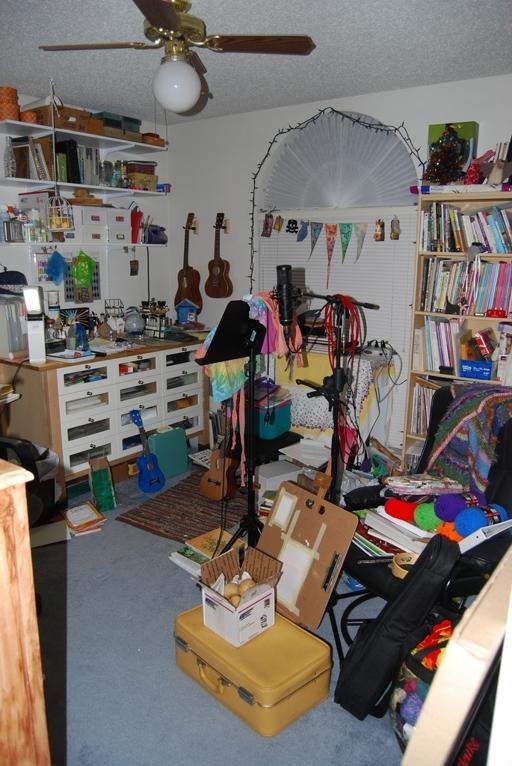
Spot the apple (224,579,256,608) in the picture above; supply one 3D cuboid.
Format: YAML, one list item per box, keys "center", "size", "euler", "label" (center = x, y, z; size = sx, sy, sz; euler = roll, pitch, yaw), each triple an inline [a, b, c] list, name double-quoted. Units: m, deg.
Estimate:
- center: [-0.047, 0.808, 2.135]
  size: [0.109, 0.041, 0.109]
  euler: [-11, -7, 40]
  label: "apple"

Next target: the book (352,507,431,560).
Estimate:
- center: [0.584, 0.640, 2.313]
  size: [0.192, 0.046, 0.190]
  euler: [8, 8, -43]
  label: "book"

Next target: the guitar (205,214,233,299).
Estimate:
- center: [-0.323, -1.052, 4.549]
  size: [0.282, 0.692, 0.133]
  euler: [10, 17, 40]
  label: "guitar"

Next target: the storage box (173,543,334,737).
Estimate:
- center: [0.035, 0.810, 2.135]
  size: [0.502, 0.555, 0.627]
  euler: [-7, 15, -39]
  label: "storage box"

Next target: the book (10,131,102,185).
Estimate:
- center: [-1.331, -1.490, 3.662]
  size: [0.319, 0.334, 0.770]
  euler: [4, 14, 19]
  label: "book"

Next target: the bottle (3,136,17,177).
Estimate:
- center: [-1.568, -1.430, 3.463]
  size: [0.081, 0.259, 0.217]
  euler: [-7, 14, -23]
  label: "bottle"

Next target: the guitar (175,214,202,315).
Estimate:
- center: [-0.582, -1.010, 4.673]
  size: [0.239, 0.860, 0.466]
  euler: [-2, 13, -7]
  label: "guitar"

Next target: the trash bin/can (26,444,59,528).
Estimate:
- center: [-1.260, 0.639, 3.256]
  size: [0.176, 0.483, 0.438]
  euler: [-5, 14, -18]
  label: "trash bin/can"

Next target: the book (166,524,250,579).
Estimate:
- center: [-0.308, 0.923, 3.015]
  size: [0.286, 0.068, 0.283]
  euler: [-23, 29, -39]
  label: "book"

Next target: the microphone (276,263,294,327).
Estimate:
- center: [0.141, -0.413, 2.640]
  size: [0.084, 0.305, 0.152]
  euler: [0, 13, 2]
  label: "microphone"

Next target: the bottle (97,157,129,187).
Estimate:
- center: [-1.071, -1.570, 4.091]
  size: [0.134, 0.235, 0.253]
  euler: [15, 25, 22]
  label: "bottle"

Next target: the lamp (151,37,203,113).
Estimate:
- center: [-0.307, -1.185, 2.116]
  size: [0.179, 0.262, 0.186]
  euler: [8, 27, 14]
  label: "lamp"

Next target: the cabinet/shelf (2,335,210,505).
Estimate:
- center: [-1.006, 0.244, 3.579]
  size: [0.327, 0.651, 1.032]
  euler: [8, 15, 31]
  label: "cabinet/shelf"

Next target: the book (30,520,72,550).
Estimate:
- center: [-1.204, 0.894, 3.210]
  size: [0.216, 0.055, 0.263]
  euler: [-7, 15, -24]
  label: "book"

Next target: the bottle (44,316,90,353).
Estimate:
- center: [-1.302, -0.328, 3.730]
  size: [0.160, 0.301, 0.177]
  euler: [10, 22, -5]
  label: "bottle"

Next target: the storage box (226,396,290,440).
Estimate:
- center: [0.005, 0.218, 3.414]
  size: [0.266, 0.193, 0.163]
  euler: [11, 18, 44]
  label: "storage box"

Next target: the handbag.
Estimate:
- center: [0.572, 0.989, 1.809]
  size: [0.281, 0.413, 0.150]
  euler: [-12, 17, -39]
  label: "handbag"
